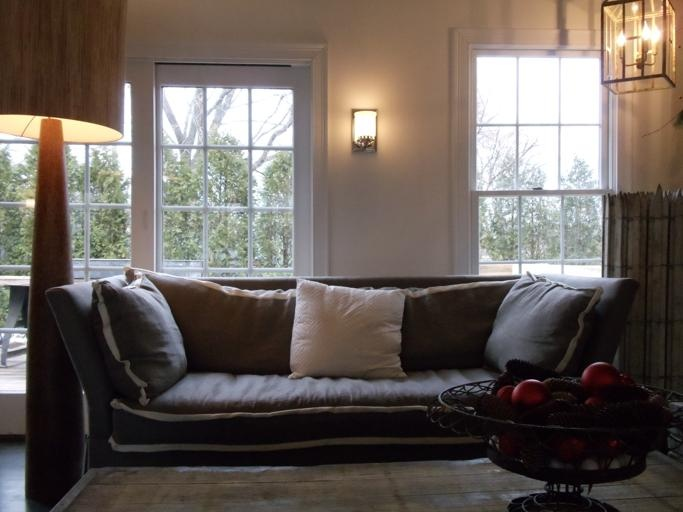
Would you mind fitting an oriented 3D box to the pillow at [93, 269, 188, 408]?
[{"bbox_3d":[-0.955,0.377,2.989,0.331,0.551,0.478,-1,5,4],"label":"pillow"}]

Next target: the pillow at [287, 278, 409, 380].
[{"bbox_3d":[0.032,0.398,3.219,0.461,0.399,0.173,1,-30,1],"label":"pillow"}]

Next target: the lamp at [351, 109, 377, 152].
[{"bbox_3d":[0.148,-0.805,4.005,0.166,0.263,0.062,-2,5,1],"label":"lamp"}]

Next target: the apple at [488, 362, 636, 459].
[{"bbox_3d":[0.737,0.489,2.035,0.382,0.204,0.332,-1,-11,5],"label":"apple"}]

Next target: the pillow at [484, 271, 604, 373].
[{"bbox_3d":[0.984,0.393,3.191,0.323,0.543,0.657,2,7,-14],"label":"pillow"}]
